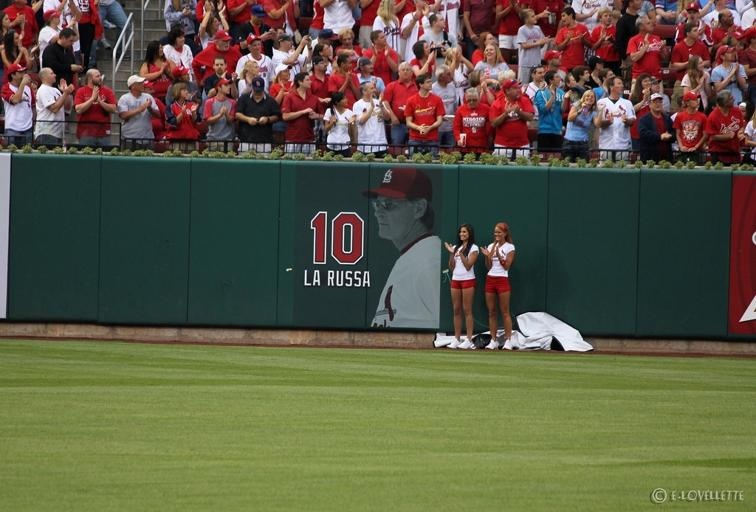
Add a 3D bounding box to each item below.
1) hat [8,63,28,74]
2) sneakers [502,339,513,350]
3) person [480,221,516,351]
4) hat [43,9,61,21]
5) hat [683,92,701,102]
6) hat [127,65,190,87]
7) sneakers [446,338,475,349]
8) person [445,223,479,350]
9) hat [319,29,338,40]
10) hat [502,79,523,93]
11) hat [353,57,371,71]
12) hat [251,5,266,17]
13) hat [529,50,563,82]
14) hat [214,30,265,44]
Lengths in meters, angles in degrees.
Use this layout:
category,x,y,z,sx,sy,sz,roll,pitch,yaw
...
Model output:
category,x,y,z,sx,sy,sz,roll,pitch,yaw
hat,-6.588,-3.377,33.326,0.277,0.126,0.190,-3,15,-7
sneakers,2.291,1.548,32.767,0.118,0.202,0.081,8,-4,11
person,2.118,0.524,32.693,0.576,2.204,0.506,0,-1,20
hat,-6.177,-4.506,34.700,0.301,0.190,0.242,1,-1,-8
hat,5.669,-2.885,33.514,0.246,0.207,0.457,1,-1,7
hat,-4.024,-3.330,33.826,1.171,0.483,1.062,1,-1,-8
sneakers,1.467,1.547,32.834,0.289,0.112,0.221,7,-8,-37
person,1.460,0.532,32.776,0.594,2.169,0.681,1,-1,0
hat,-0.993,-4.163,35.031,0.267,0.142,0.178,1,34,-21
hat,2.361,-3.060,33.253,0.264,0.154,0.199,-13,12,8
hat,-0.290,-3.514,34.061,0.303,0.286,0.243,0,-1,17
hat,-2.310,-4.643,35.156,0.272,0.229,0.230,1,-1,-12
hat,3.133,-3.541,34.637,0.332,0.453,0.707,-5,0,34
hat,-2.738,-4.067,34.561,0.562,0.188,0.385,-5,-3,5
